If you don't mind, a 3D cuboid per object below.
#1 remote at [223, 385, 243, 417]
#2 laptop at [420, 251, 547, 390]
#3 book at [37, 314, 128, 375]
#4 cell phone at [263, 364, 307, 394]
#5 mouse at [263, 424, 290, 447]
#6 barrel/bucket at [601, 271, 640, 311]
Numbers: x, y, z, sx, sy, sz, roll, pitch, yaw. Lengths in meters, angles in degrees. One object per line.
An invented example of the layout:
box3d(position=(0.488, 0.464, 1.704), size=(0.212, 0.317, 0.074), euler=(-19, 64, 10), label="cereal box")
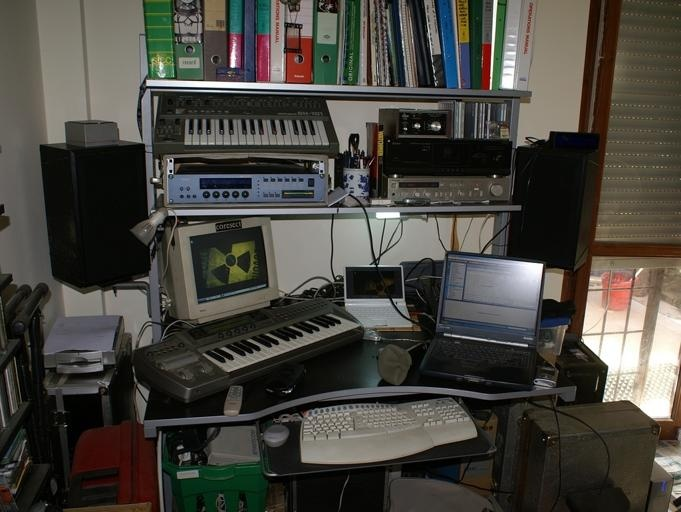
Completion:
box3d(position=(-0.422, 0.569, 2.285), size=(0.067, 0.064, 0.142), euler=(-3, 15, -2), label="remote")
box3d(position=(0.682, 0.291, 2.685), size=(0.503, 0.450, 0.621), euler=(8, 19, 18), label="laptop")
box3d(position=(-1.224, 0.423, 2.722), size=(0.245, 0.090, 0.338), euler=(-1, 23, -13), label="book")
box3d(position=(-0.218, 0.502, 2.398), size=(0.108, 0.068, 0.208), euler=(3, 16, 21), label="cell phone")
box3d(position=(-0.256, 0.733, 2.378), size=(0.121, 0.060, 0.079), euler=(-11, 17, -28), label="mouse")
box3d(position=(1.694, 0.192, 3.590), size=(0.234, 0.265, 0.250), euler=(-1, 11, 0), label="barrel/bucket")
